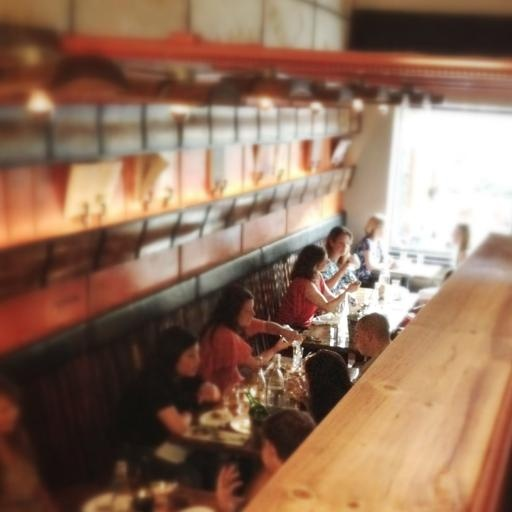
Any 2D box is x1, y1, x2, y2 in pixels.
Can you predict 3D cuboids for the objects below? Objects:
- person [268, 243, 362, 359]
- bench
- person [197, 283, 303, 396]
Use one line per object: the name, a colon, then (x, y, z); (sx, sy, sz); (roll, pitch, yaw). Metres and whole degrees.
person: (0.469, 0.321, 4.552); (0.961, 1.511, 0.585); (-6, 46, 1)
bench: (-0.556, 0.564, 2.465); (0.273, 0.330, 1.494); (14, 26, 26)
person: (-0.133, 0.395, 3.678); (0.845, 1.214, 0.525); (-4, 33, -6)
